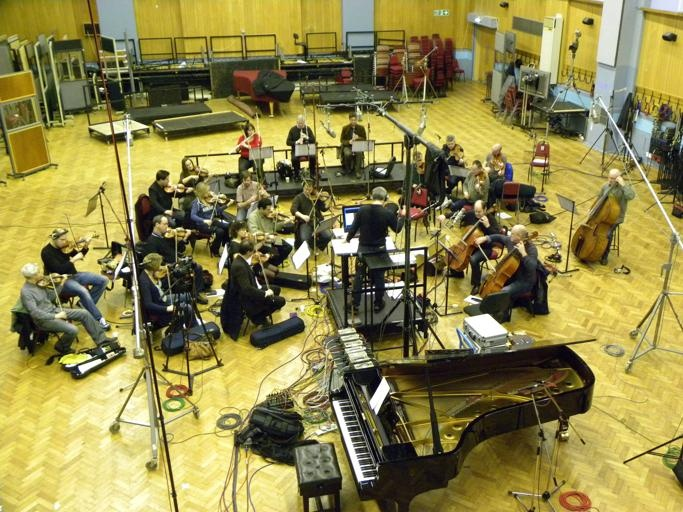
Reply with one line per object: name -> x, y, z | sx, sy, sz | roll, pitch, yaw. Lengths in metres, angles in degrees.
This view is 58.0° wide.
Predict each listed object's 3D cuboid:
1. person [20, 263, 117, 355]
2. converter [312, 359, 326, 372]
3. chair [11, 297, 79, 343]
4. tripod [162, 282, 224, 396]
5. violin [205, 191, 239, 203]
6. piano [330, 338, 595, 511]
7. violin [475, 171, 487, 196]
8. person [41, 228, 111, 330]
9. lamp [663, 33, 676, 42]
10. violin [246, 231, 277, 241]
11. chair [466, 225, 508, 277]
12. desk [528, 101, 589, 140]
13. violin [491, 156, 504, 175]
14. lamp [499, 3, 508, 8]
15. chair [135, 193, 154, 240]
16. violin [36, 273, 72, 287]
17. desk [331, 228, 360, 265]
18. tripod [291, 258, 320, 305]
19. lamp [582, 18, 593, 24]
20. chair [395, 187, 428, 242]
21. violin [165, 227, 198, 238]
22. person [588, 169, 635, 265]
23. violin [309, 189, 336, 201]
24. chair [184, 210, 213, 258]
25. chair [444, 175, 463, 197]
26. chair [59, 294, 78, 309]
person -> -4.137, 0.818, 9.214 | 1.059, 1.419, 0.637 | -3, 25, -12
converter -> -0.333, 1.595, 8.900 | 0.118, 0.054, 0.162 | 6, 27, 18
chair -> -4.438, 0.998, 9.269 | 0.564, 0.928, 0.946 | 12, 5, 43
tripod -> -2.382, 1.188, 9.252 | 1.028, 1.441, 0.989 | -4, 12, -6
violin -> -2.365, -1.079, 11.931 | 0.518, 0.133, 0.250 | 8, 18, -38
piano -> 1.490, 2.018, 7.502 | 3.028, 1.782, 1.759 | -9, 39, -6
violin -> 2.787, -1.457, 12.448 | 0.295, 0.401, 0.158 | 5, -18, -15
person -> -4.264, 0.438, 9.862 | 1.046, 1.746, 0.735 | -5, 38, -6
lamp -> 7.471, -4.996, 14.080 | 0.190, 0.205, 0.402 | -7, 23, -11
violin -> -1.361, -0.324, 10.664 | 0.283, 0.188, 0.725 | 6, 8, 34
chair -> 2.442, -0.077, 10.437 | 0.486, 0.752, 0.410 | -22, 48, -23
desk -> 6.161, -3.735, 17.299 | 1.183, 0.805, 1.203 | 18, 36, 26
violin -> 3.321, -1.904, 13.145 | 0.285, 0.405, 0.159 | 2, -6, 23
lamp -> 5.404, -8.364, 20.563 | 0.129, 0.188, 0.471 | -9, 24, -15
chair -> -3.541, -0.662, 11.012 | 0.393, 0.765, 0.438 | 9, 39, -11
violin -> -4.301, 0.375, 9.183 | 0.345, 0.107, 0.183 | 5, 20, 13
desk -> 0.108, -0.065, 9.382 | 0.478, 0.457, 0.477 | -12, 51, -8
tripod -> -0.641, 0.478, 10.628 | 0.546, 1.001, 0.543 | -5, 22, -7
lamp -> 6.616, -6.299, 16.571 | 0.160, 0.202, 0.373 | -6, 23, -9
chair -> 1.536, -0.913, 12.694 | 0.661, 0.973, 0.698 | 19, 15, 9
violin -> -2.818, -0.360, 10.700 | 0.210, 0.114, 0.446 | 28, 21, 30
person -> 4.964, -0.632, 11.246 | 0.623, 1.828, 0.993 | 10, 21, 5
violin -> -0.395, -1.149, 11.867 | 0.434, 0.228, 0.255 | 4, 20, -38
chair -> -2.713, -0.429, 11.598 | 0.509, 0.858, 0.487 | 0, 42, -8
chair -> 2.404, -1.505, 13.356 | 0.230, 0.704, 0.232 | -23, 42, -23
chair -> -4.468, 0.745, 10.029 | 0.254, 0.326, 0.333 | -4, 5, -29
